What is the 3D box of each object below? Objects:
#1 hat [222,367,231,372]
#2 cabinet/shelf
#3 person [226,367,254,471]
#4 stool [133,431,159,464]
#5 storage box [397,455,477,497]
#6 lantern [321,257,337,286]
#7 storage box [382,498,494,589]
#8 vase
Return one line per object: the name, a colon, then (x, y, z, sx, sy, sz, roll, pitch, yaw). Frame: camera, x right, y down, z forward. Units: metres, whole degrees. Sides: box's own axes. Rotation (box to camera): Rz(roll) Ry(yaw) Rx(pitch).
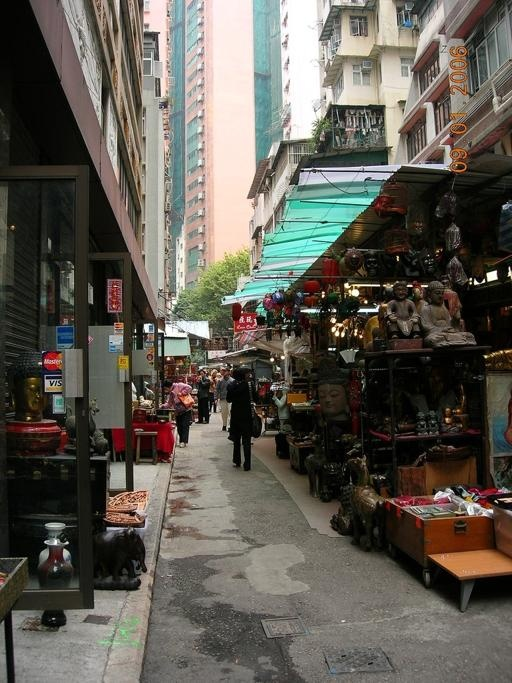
hat: (-0.952, 0.889, 18.570, 0.287, 0.178, 0.376, -1, -4, 4)
cabinet/shelf: (1.681, 0.804, 6.436, 1.271, 2.361, 1.175, 1, -4, -6)
person: (-0.267, 1.329, 10.239, 0.441, 1.740, 1.081, -1, -4, -1)
stool: (-1.824, 1.780, 9.747, 0.457, 0.713, 0.495, 0, -14, -6)
storage box: (1.677, 1.249, 5.401, 0.608, 0.367, 0.417, -4, 3, -38)
lantern: (1.229, -1.190, 9.609, 0.261, 0.407, 0.654, -1, -4, 7)
storage box: (1.343, 1.557, 4.511, 0.446, 0.344, 0.632, 0, -6, -6)
vase: (-1.053, 1.236, 3.053, 0.187, 0.544, 0.134, 0, -4, -11)
